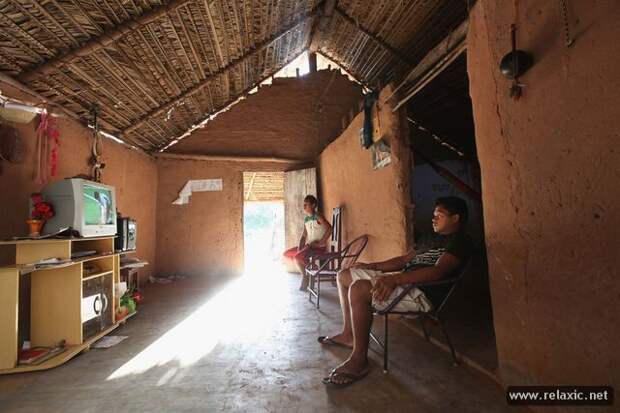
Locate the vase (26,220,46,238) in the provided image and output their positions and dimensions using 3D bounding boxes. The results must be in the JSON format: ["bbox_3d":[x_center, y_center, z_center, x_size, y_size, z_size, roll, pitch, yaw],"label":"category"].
[{"bbox_3d":[-2.806,0.239,4.239,0.180,0.179,0.180,-5,-9,28],"label":"vase"}]

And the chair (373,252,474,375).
[{"bbox_3d":[1.034,1.035,4.155,1.083,1.019,0.789,0,-8,-2],"label":"chair"}]

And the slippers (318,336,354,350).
[{"bbox_3d":[0.264,1.383,4.219,0.317,0.075,0.124,9,-12,12],"label":"slippers"}]

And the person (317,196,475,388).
[{"bbox_3d":[0.779,0.699,3.931,1.429,1.512,0.694,-4,9,-14],"label":"person"}]

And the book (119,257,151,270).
[{"bbox_3d":[-2.353,0.757,5.514,0.327,0.100,0.330,1,0,-14],"label":"book"}]

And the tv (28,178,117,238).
[{"bbox_3d":[-2.552,-0.001,4.564,0.687,0.597,0.698,0,-1,-6],"label":"tv"}]

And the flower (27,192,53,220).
[{"bbox_3d":[-2.773,-0.004,4.287,0.201,0.277,0.238,-8,11,-34],"label":"flower"}]

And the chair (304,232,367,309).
[{"bbox_3d":[0.341,0.855,5.943,0.924,1.204,0.811,3,-6,-11],"label":"chair"}]

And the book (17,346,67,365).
[{"bbox_3d":[-2.591,1.429,4.043,0.393,0.054,0.309,-8,10,-30],"label":"book"}]

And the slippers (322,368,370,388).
[{"bbox_3d":[0.320,1.501,3.637,0.325,0.087,0.139,6,-15,-16],"label":"slippers"}]

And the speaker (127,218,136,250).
[{"bbox_3d":[-2.327,0.367,5.430,0.119,0.425,0.478,-6,10,-23],"label":"speaker"}]

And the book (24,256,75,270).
[{"bbox_3d":[-2.497,0.551,4.008,0.407,0.097,0.296,-4,9,-11],"label":"book"}]
